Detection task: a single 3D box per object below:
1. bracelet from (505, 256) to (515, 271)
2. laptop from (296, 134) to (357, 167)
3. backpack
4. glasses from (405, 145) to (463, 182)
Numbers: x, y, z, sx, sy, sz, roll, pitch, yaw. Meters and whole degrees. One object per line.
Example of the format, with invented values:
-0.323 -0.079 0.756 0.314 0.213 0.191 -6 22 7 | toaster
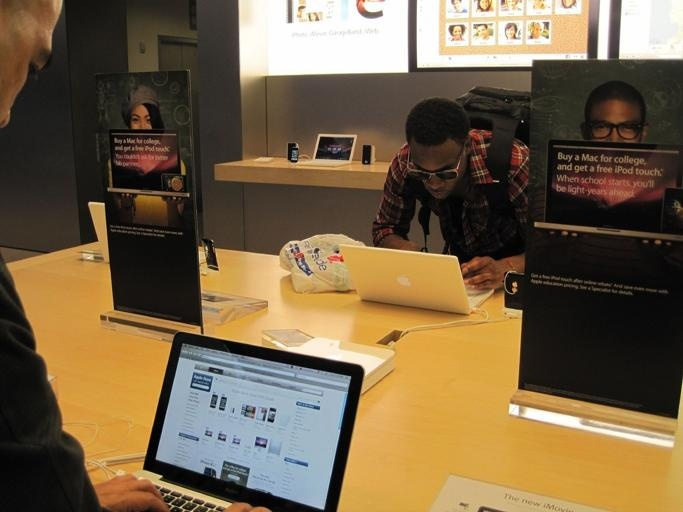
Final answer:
0.728 0.038 2.303 0.044 0.012 0.049 8 29 11 | bracelet
-0.073 -0.877 4.362 0.363 0.241 0.335 6 14 24 | laptop
0.555 -0.301 2.576 0.528 0.607 0.412 -3 0 -29 | backpack
0.425 -0.412 2.436 0.253 0.135 0.137 4 13 14 | glasses
